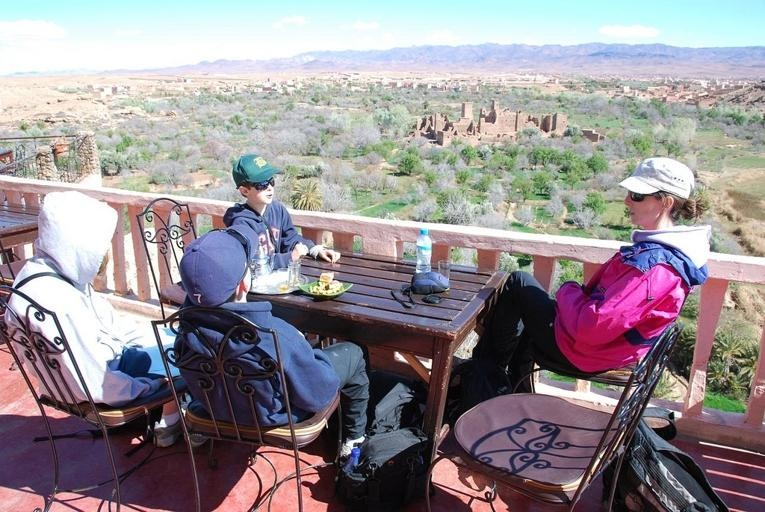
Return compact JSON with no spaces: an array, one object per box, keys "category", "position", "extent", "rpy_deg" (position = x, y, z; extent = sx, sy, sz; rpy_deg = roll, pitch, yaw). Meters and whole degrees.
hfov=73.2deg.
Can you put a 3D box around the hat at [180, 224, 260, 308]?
[{"category":"hat","position":[-0.731,0.043,2.352],"extent":[0.269,0.201,0.357],"rpy_deg":[3,60,17]}]

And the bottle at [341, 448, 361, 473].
[{"category":"bottle","position":[-0.154,1.134,2.861],"extent":[0.108,0.124,0.117],"rpy_deg":[22,70,21]}]

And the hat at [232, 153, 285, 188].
[{"category":"hat","position":[-0.813,-0.558,3.336],"extent":[0.300,0.166,0.223],"rpy_deg":[-4,22,22]}]

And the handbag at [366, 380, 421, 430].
[{"category":"handbag","position":[0.112,0.927,3.167],"extent":[0.388,0.222,0.365],"rpy_deg":[4,54,5]}]

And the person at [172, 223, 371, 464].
[{"category":"person","position":[-0.576,0.513,2.689],"extent":[0.872,1.377,0.778],"rpy_deg":[16,46,13]}]

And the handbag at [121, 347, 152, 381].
[{"category":"handbag","position":[-1.327,0.587,2.825],"extent":[0.130,0.144,0.148],"rpy_deg":[17,60,-17]}]

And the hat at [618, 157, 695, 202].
[{"category":"hat","position":[1.465,-0.412,2.795],"extent":[0.356,0.172,0.255],"rpy_deg":[12,11,9]}]

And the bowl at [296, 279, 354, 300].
[{"category":"bowl","position":[-0.343,0.200,2.929],"extent":[0.180,0.053,0.145],"rpy_deg":[2,18,7]}]
